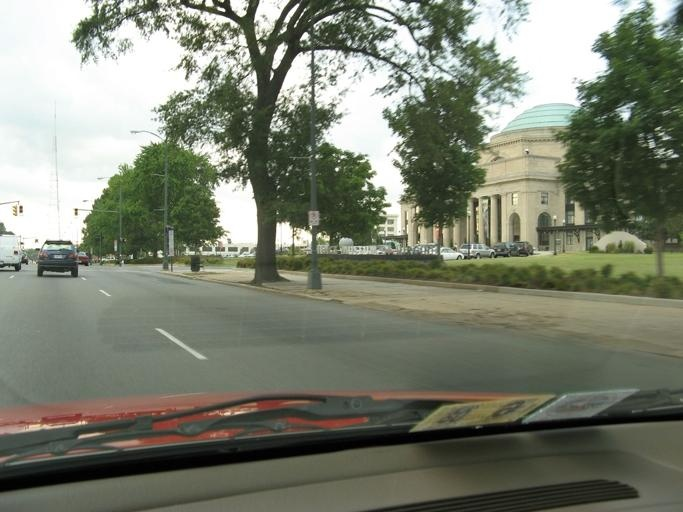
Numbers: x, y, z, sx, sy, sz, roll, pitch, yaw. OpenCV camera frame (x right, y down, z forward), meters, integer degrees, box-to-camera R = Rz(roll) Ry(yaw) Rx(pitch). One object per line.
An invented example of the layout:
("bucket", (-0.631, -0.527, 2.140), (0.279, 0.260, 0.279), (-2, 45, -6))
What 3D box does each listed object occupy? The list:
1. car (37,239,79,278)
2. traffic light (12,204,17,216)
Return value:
("car", (-11.900, 0.112, 31.387), (1.491, 1.293, 3.253), (0, 3, -19))
("traffic light", (-23.171, -3.272, 53.143), (0.188, 0.700, 0.864), (-2, 2, -21))
